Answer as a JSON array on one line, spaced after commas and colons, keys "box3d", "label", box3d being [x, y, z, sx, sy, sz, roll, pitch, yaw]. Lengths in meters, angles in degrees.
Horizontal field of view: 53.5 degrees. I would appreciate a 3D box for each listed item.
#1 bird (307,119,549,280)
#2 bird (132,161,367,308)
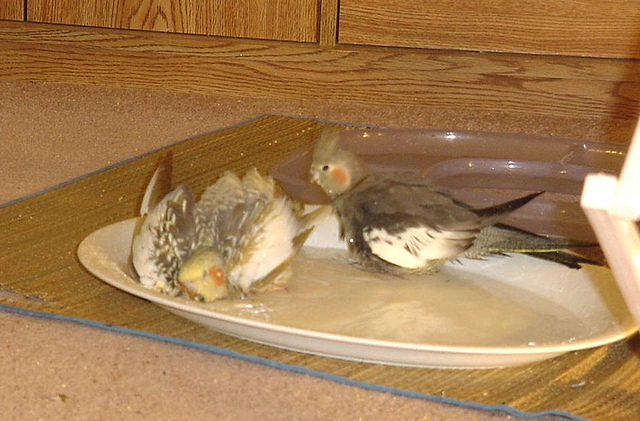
[{"box3d": [0.120, 0.000, 0.706, 0.281, 0.147, 0.104, 6, 31, 15], "label": "bird"}, {"box3d": [-0.088, 0.022, 0.688, 0.151, 0.156, 0.069, 16, -21, 21], "label": "bird"}]
